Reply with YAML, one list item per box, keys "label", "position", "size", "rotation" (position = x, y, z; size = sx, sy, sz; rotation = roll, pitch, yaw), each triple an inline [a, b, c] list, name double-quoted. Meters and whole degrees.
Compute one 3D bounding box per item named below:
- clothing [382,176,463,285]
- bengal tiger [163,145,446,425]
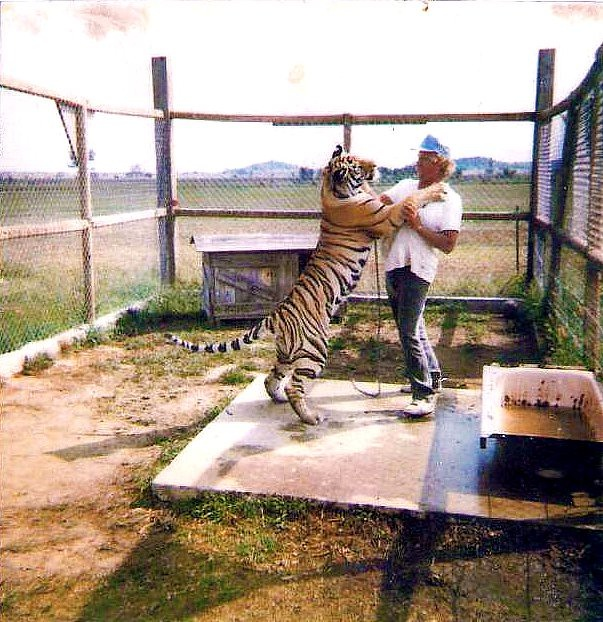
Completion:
- label: "clothing"
  position: [0.849, -0.536, 4.469]
  size: [0.325, 1.130, 0.529]
  rotation: [7, 11, 24]
- label: "bengal tiger"
  position: [0.114, -0.129, 4.502]
  size: [0.673, 1.432, 2.452]
  rotation: [16, 47, 40]
